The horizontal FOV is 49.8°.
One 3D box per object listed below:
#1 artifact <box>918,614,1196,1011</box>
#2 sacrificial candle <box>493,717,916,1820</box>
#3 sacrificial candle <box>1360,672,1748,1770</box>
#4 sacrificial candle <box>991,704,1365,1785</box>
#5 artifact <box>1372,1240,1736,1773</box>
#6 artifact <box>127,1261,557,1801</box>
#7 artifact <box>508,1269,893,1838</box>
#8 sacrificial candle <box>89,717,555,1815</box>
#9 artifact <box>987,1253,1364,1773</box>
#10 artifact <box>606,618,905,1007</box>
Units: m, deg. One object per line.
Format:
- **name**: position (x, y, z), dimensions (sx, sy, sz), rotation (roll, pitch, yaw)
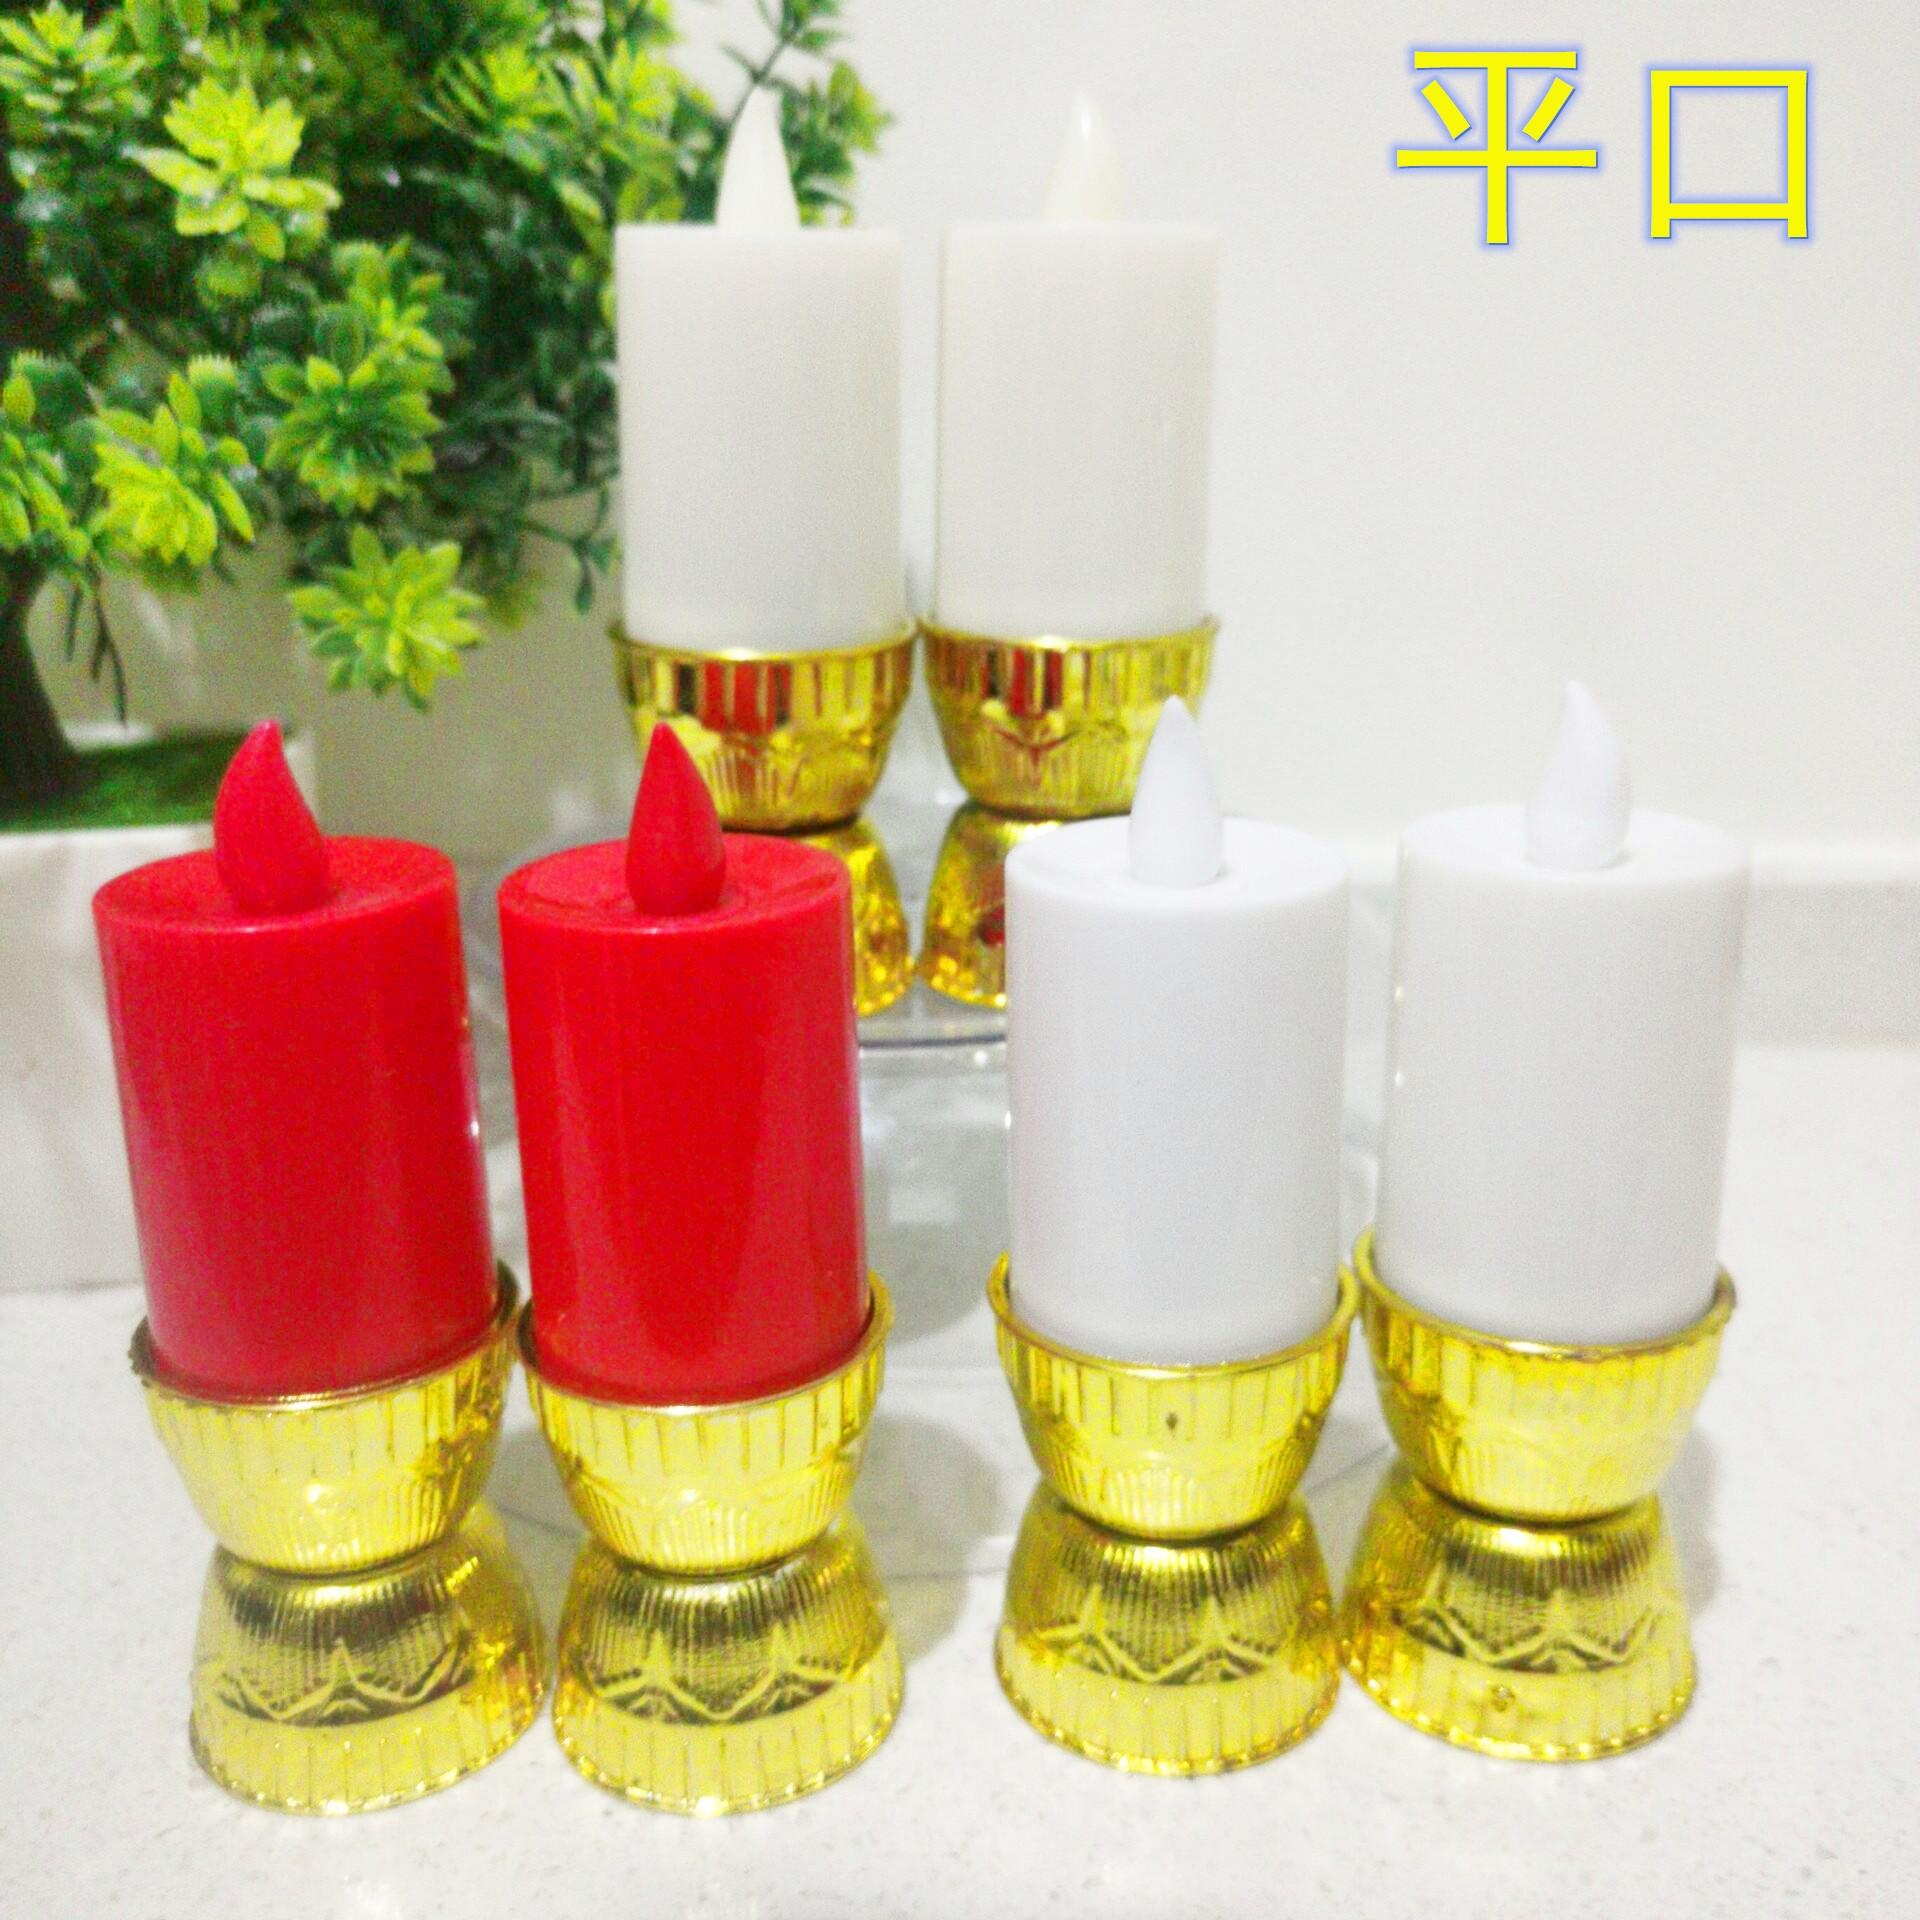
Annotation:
- **artifact**: position (0.033, -0.063, 0.736), dimensions (0.088, 0.131, 0.109), rotation (0, 22, 0)
- **sacrificial candle**: position (-0.070, 0.081, 0.548), dimensions (0.099, 0.291, 0.086), rotation (-4, 20, -4)
- **sacrificial candle**: position (0.160, 0.072, 0.566), dimensions (0.101, 0.286, 0.085), rotation (3, 20, 13)
- **sacrificial candle**: position (0.057, 0.073, 0.559), dimensions (0.095, 0.288, 0.090), rotation (-16, 24, -33)
- **artifact**: position (0.158, 0.153, 0.602), dimensions (0.090, 0.139, 0.104), rotation (4, 8, 2)
- **artifact**: position (-0.173, 0.161, 0.584), dimensions (0.084, 0.126, 0.091), rotation (-6, 11, -35)
- **artifact**: position (-0.060, 0.153, 0.615), dimensions (0.103, 0.151, 0.122), rotation (-1, 22, 1)
- **sacrificial candle**: position (-0.174, 0.079, 0.553), dimensions (0.103, 0.293, 0.089), rotation (-8, 21, -16)
- **artifact**: position (0.057, 0.138, 0.619), dimensions (0.103, 0.149, 0.121), rotation (-1, 22, 3)
- **artifact**: position (-0.054, -0.063, 0.653), dimensions (0.091, 0.132, 0.108), rotation (-3, 22, -4)
